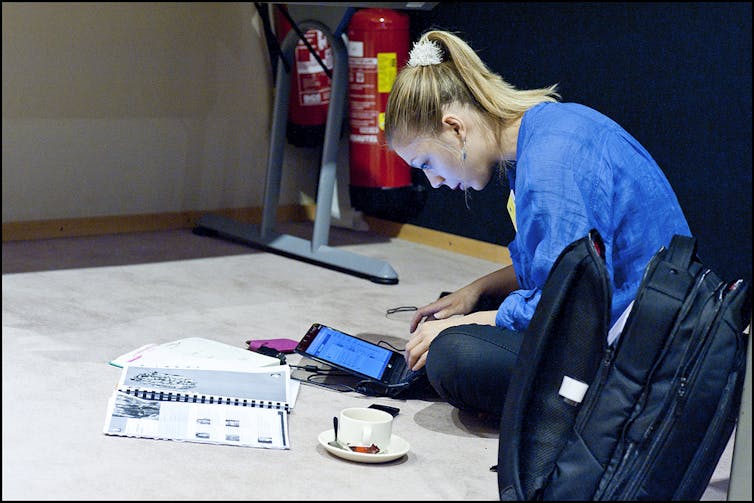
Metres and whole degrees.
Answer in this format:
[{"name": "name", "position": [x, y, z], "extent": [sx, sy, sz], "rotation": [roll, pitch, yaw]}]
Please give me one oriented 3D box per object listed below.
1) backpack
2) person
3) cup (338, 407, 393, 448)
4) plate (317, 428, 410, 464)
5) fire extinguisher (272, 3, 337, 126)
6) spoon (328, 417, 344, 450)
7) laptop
[{"name": "backpack", "position": [0.483, 0.239, 1.225], "extent": [0.446, 0.527, 0.242], "rotation": [5, 17, 7]}, {"name": "person", "position": [0.430, -0.111, 1.689], "extent": [0.731, 0.968, 0.964], "rotation": [-1, 20, 29]}, {"name": "cup", "position": [-0.031, 0.425, 1.564], "extent": [0.092, 0.069, 0.115], "rotation": [2, 8, -3]}, {"name": "plate", "position": [-0.035, 0.482, 1.526], "extent": [0.225, 0.048, 0.114], "rotation": [4, 16, 1]}, {"name": "fire extinguisher", "position": [-0.417, -1.055, 3.556], "extent": [0.239, 0.664, 0.428], "rotation": [-3, 18, -19]}, {"name": "spoon", "position": [-0.101, 0.446, 1.537], "extent": [0.036, 0.074, 0.012], "rotation": [6, 20, 32]}, {"name": "laptop", "position": [-0.047, 0.323, 1.866], "extent": [0.303, 0.096, 0.225], "rotation": [22, 19, 1]}]
